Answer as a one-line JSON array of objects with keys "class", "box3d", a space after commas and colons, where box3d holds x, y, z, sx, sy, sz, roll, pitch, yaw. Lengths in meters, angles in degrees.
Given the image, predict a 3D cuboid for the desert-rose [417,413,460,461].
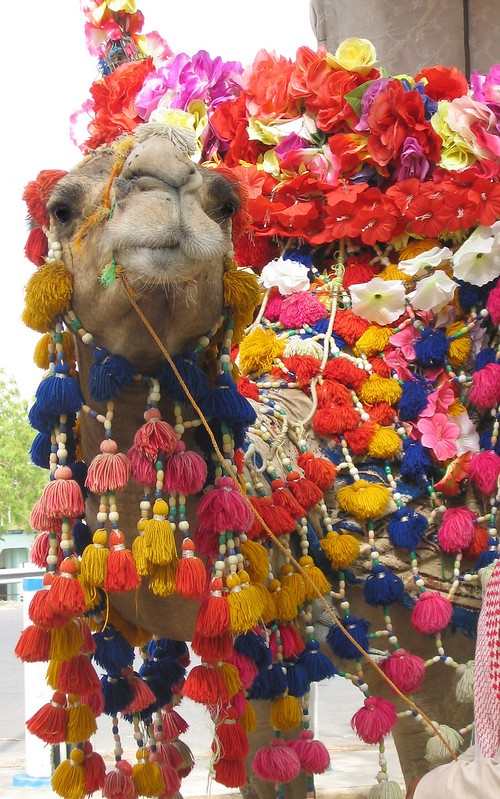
[{"class": "desert-rose", "box3d": [0.495, 0.100, 2.399, 0.132, 0.109, 0.044, 2, -11, 5]}]
